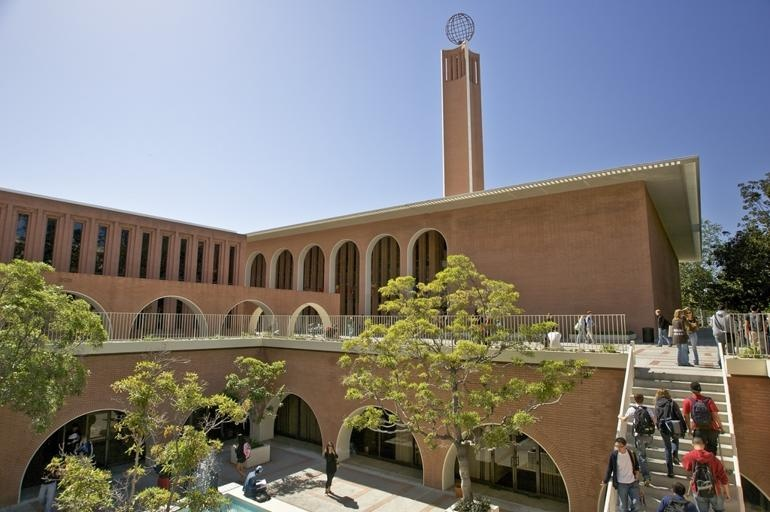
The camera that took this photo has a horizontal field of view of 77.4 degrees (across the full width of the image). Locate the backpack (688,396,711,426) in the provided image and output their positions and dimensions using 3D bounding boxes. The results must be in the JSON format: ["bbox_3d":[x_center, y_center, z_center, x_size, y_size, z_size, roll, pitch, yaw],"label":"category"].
[{"bbox_3d":[7.743,3.829,11.877,0.424,0.616,0.622,-8,-40,42],"label":"backpack"}]

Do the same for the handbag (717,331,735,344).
[{"bbox_3d":[10.246,2.475,14.541,0.416,0.393,0.102,7,-6,-22],"label":"handbag"}]

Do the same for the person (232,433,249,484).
[{"bbox_3d":[-5.409,7.671,18.409,0.478,1.427,1.191,0,2,-17],"label":"person"}]

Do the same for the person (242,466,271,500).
[{"bbox_3d":[-4.396,7.824,16.531,0.881,0.957,0.887,0,2,-15],"label":"person"}]

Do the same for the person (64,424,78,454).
[{"bbox_3d":[-11.340,6.705,17.496,0.454,0.920,1.297,-1,2,-34],"label":"person"}]

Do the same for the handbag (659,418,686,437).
[{"bbox_3d":[7.137,4.287,12.027,0.366,0.487,0.501,10,-11,-20],"label":"handbag"}]

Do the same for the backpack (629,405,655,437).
[{"bbox_3d":[6.630,4.256,12.393,0.479,0.727,0.328,1,2,22],"label":"backpack"}]

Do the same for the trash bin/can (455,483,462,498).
[{"bbox_3d":[2.498,8.056,16.548,0.155,0.431,0.254,0,2,-12],"label":"trash bin/can"}]

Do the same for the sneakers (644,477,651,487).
[{"bbox_3d":[6.585,5.714,12.142,0.097,0.097,0.231,3,-46,12],"label":"sneakers"}]

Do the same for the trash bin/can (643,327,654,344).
[{"bbox_3d":[11.042,3.326,20.184,0.549,0.639,0.557,-1,-3,3],"label":"trash bin/can"}]

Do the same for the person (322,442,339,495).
[{"bbox_3d":[-1.940,7.530,17.254,0.388,1.681,0.959,0,2,-8],"label":"person"}]

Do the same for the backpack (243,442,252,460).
[{"bbox_3d":[-5.337,7.585,18.611,0.144,0.567,0.491,5,6,29],"label":"backpack"}]
